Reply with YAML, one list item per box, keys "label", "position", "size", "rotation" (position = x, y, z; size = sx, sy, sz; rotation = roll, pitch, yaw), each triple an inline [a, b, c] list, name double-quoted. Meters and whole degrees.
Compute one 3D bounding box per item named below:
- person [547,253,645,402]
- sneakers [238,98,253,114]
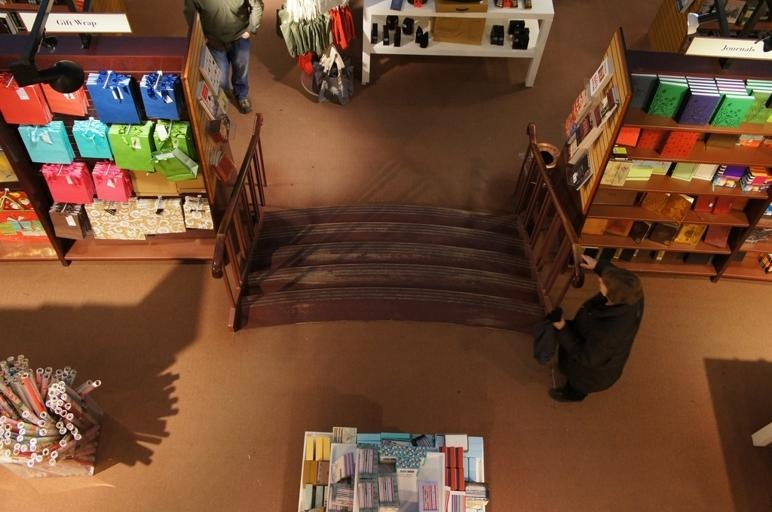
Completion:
- label: "person"
  position: [2.396, 0.903, 6.335]
  size: [0.688, 1.413, 0.797]
  rotation: [30, 76, 16]
- label: "sneakers"
  position: [-2.278, -2.404, 8.905]
  size: [0.146, 0.275, 0.096]
  rotation: [-8, -1, -4]
